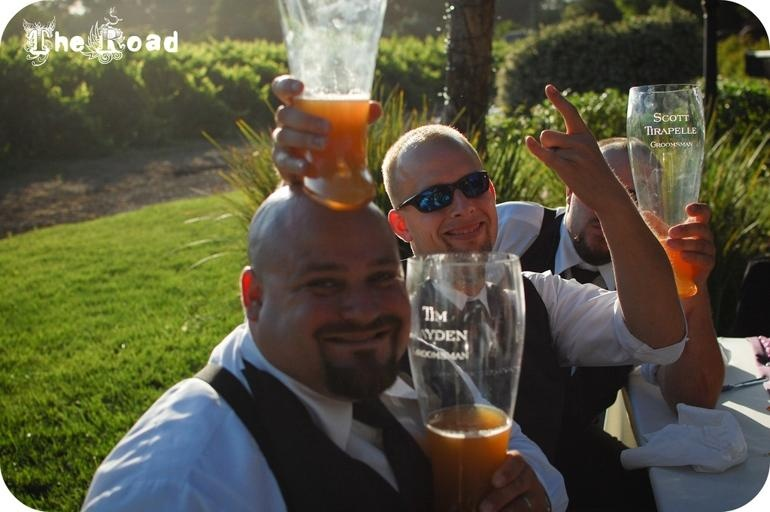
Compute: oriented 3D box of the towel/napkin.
[{"bbox_3d":[1.817,1.128,3.977,0.710,0.332,0.366,3,9,21],"label":"towel/napkin"}]
